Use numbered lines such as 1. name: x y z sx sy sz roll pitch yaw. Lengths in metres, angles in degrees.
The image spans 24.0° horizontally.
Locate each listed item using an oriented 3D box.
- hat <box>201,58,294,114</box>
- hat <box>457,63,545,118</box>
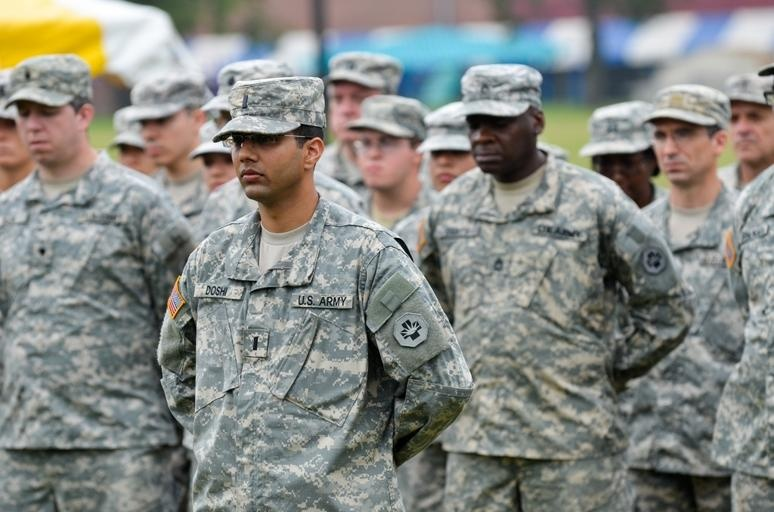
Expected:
1. hat: -1.244 -1.553 15.727 0.667 0.371 0.835 -1 -4 -44
2. hat: 0.891 -1.285 14.012 0.438 0.246 0.550 -3 -3 30
